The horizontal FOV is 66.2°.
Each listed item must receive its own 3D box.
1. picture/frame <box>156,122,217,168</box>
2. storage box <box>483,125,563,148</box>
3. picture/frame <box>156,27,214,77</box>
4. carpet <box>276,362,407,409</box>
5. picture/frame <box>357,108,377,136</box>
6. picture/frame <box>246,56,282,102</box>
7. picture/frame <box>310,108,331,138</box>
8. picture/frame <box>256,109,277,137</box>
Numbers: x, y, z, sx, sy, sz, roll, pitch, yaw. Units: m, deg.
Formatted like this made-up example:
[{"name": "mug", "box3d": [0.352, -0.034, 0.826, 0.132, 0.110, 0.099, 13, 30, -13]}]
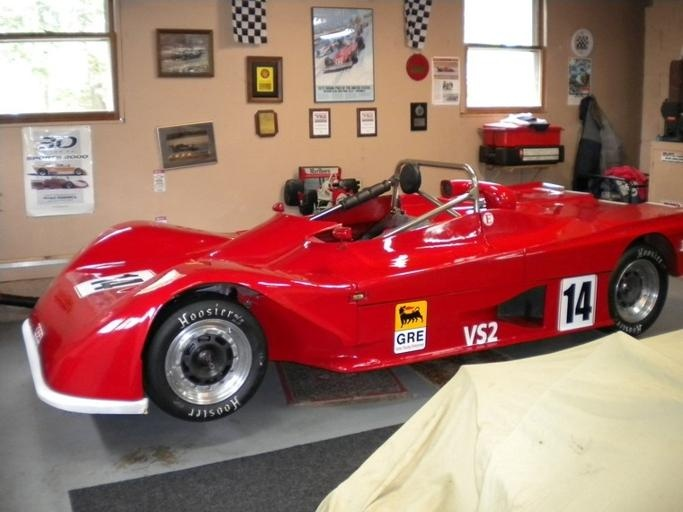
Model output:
[{"name": "picture/frame", "box3d": [-1.356, -0.996, 4.623, 0.423, 0.427, 0.102, -11, 13, -16]}, {"name": "storage box", "box3d": [1.847, -1.210, 5.310, 0.824, 0.241, 0.473, 0, 15, -31]}, {"name": "picture/frame", "box3d": [-1.341, -1.754, 4.499, 0.484, 0.391, 0.032, -8, 12, -18]}, {"name": "carpet", "box3d": [-0.032, 0.670, 3.093, 0.678, 0.134, 0.658, 0, 9, -28]}, {"name": "picture/frame", "box3d": [0.237, -1.326, 5.090, 0.232, 0.300, 0.036, -4, 9, -21]}, {"name": "picture/frame", "box3d": [-0.714, -1.624, 4.727, 0.367, 0.469, 0.046, -2, 6, -21]}, {"name": "picture/frame", "box3d": [-0.210, -1.281, 4.952, 0.240, 0.324, 0.033, -4, 12, -18]}, {"name": "picture/frame", "box3d": [-0.693, -1.231, 4.787, 0.217, 0.259, 0.027, -4, 9, -21]}]
